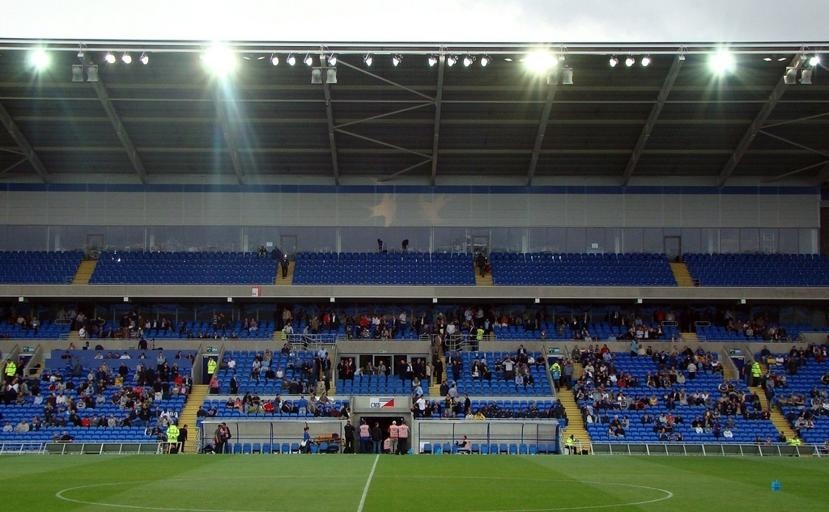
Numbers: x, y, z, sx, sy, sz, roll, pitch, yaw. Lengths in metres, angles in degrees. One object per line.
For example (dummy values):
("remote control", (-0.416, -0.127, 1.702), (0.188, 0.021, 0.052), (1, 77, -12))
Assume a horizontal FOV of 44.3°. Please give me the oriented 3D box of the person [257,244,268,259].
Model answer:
("person", (-12.044, -0.333, 81.026), (0.780, 0.950, 0.431), (1, -65, -7))
